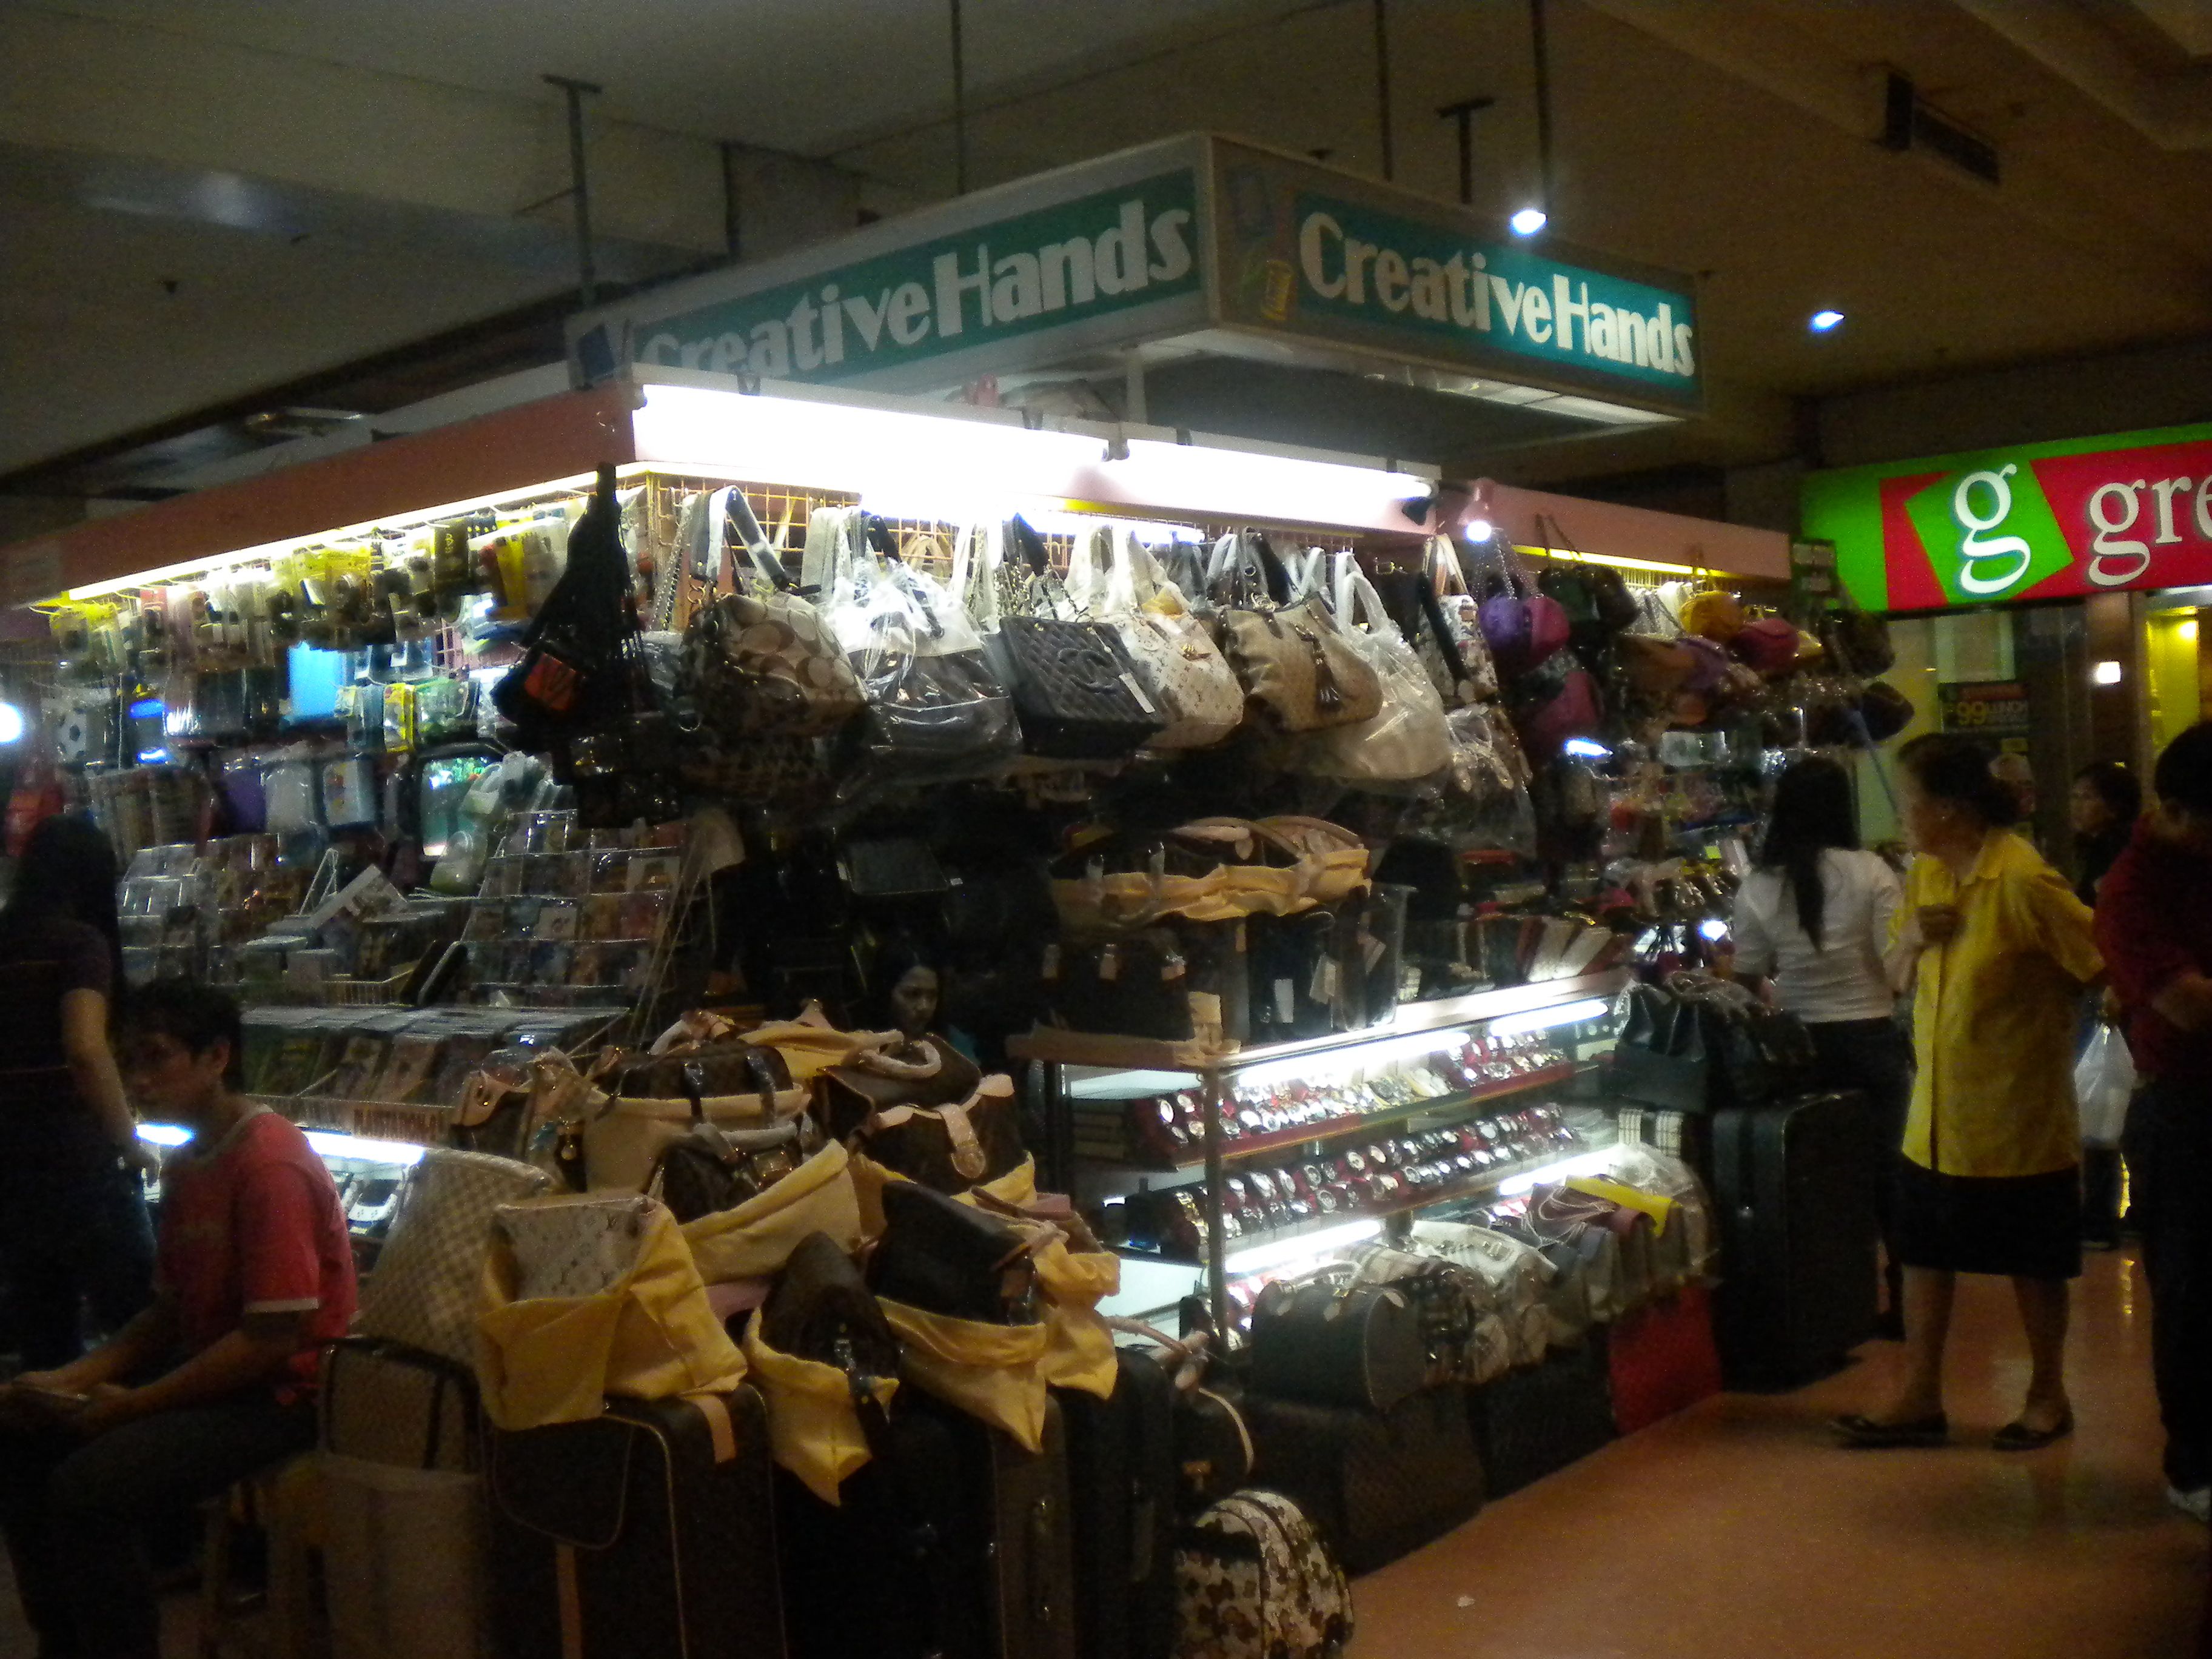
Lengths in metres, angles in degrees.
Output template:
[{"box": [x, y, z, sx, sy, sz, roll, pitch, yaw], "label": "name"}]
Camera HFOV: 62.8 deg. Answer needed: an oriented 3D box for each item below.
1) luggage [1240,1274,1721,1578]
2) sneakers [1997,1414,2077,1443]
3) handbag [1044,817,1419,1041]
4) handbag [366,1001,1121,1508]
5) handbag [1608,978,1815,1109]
[{"box": [1.126, 1.578, 5.216, 1.710, 0.748, 0.275, -5, 0, -37], "label": "luggage"}, {"box": [2.732, 1.744, 5.332, 0.249, 0.101, 0.085, 3, -8, -18], "label": "sneakers"}, {"box": [0.330, 0.261, 4.994, 0.755, 0.370, 0.611, 0, 0, 32], "label": "handbag"}, {"box": [-0.678, 0.760, 3.758, 1.212, 0.449, 0.953, 0, 6, -24], "label": "handbag"}, {"box": [2.012, 0.684, 6.061, 0.484, 0.342, 0.410, -9, -3, 36], "label": "handbag"}]
